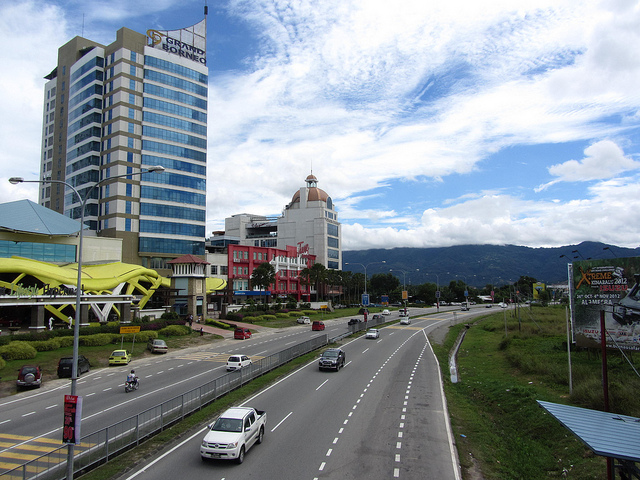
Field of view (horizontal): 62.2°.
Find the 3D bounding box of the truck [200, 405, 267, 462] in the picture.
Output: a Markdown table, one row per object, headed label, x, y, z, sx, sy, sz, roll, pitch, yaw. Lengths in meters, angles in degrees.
| label | x | y | z | sx | sy | sz | roll | pitch | yaw |
| --- | --- | --- | --- | --- | --- | --- | --- | --- | --- |
| truck | -5.754 | 12.609 | 35.604 | 3.146 | 2.050 | 6.259 | 5 | 2 | 8 |
